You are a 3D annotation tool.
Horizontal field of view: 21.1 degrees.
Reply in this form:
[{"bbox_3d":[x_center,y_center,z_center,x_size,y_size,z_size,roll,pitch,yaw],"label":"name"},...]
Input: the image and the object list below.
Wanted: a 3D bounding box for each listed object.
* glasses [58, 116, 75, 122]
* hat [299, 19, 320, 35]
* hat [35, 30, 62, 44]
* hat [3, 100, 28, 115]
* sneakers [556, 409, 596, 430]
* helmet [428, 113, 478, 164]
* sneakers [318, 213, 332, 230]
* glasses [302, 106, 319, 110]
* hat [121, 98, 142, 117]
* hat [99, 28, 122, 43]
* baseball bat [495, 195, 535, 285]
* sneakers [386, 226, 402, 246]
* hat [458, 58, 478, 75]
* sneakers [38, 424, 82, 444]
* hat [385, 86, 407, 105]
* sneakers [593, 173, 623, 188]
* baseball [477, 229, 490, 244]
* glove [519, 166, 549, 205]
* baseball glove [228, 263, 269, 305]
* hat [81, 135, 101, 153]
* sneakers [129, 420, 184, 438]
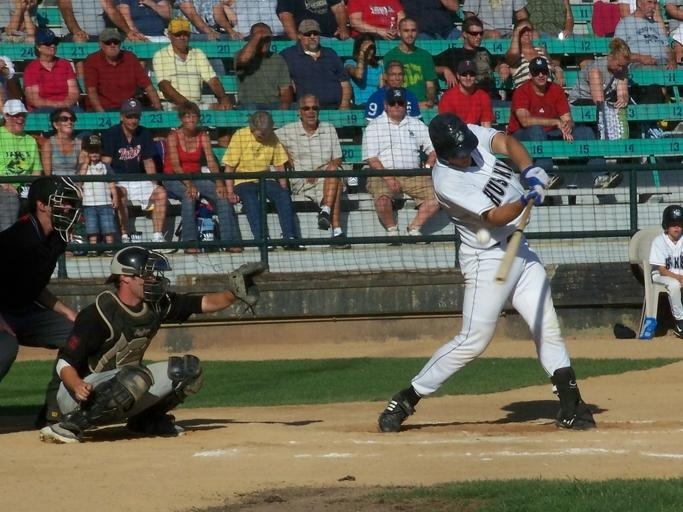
[{"bbox_3d":[-3.694,-1.837,24.907,0.210,0.084,0.086,-10,16,-33],"label":"glasses"},{"bbox_3d":[-0.468,-3.214,26.050,0.304,0.195,0.337,-2,13,-2],"label":"hat"},{"bbox_3d":[-4.111,-3.017,25.638,0.202,0.148,0.266,-12,12,-42],"label":"hat"},{"bbox_3d":[-4.430,-1.998,24.984,0.313,0.208,0.297,-4,14,-10],"label":"hat"},{"bbox_3d":[2.550,1.790,20.190,0.381,0.173,0.166,-4,1,16],"label":"sneakers"},{"bbox_3d":[1.178,-1.267,19.840,0.552,0.412,0.308,45,2,40],"label":"helmet"},{"bbox_3d":[-0.229,-0.455,24.242,0.097,0.197,0.294,0,-11,7],"label":"sneakers"},{"bbox_3d":[-0.444,-1.992,25.118,0.217,0.078,0.046,-4,14,-12],"label":"glasses"},{"bbox_3d":[-2.850,-1.983,24.967,0.274,0.227,0.314,-4,14,-10],"label":"hat"},{"bbox_3d":[-3.209,-3.030,25.540,0.280,0.177,0.249,-4,14,-12],"label":"hat"},{"bbox_3d":[1.849,-0.158,19.938,0.125,1.139,0.151,19,-34,13],"label":"baseball bat"},{"bbox_3d":[0.667,-0.241,24.299,0.262,0.311,0.217,1,-6,-10],"label":"sneakers"},{"bbox_3d":[1.732,-2.582,25.505,0.260,0.208,0.204,-2,14,-1],"label":"hat"},{"bbox_3d":[-3.031,1.906,19.878,0.457,0.207,0.180,4,8,-4],"label":"sneakers"},{"bbox_3d":[0.738,-2.165,25.152,0.293,0.217,0.192,-1,14,0],"label":"hat"},{"bbox_3d":[3.616,-1.014,25.178,0.294,0.109,0.213,-28,18,-13],"label":"sneakers"},{"bbox_3d":[1.528,-0.202,19.938,0.159,0.173,0.169,0,14,5],"label":"baseball"},{"bbox_3d":[2.092,-0.739,19.969,0.253,0.449,0.471,0,14,5],"label":"glove"},{"bbox_3d":[-1.105,0.299,19.899,0.475,0.457,0.325,-3,2,-28],"label":"baseball glove"},{"bbox_3d":[-3.355,-1.517,24.766,0.297,0.213,0.471,3,14,-18],"label":"hat"},{"bbox_3d":[-2.031,1.884,20.122,0.421,0.126,0.234,-9,-3,1],"label":"sneakers"}]
